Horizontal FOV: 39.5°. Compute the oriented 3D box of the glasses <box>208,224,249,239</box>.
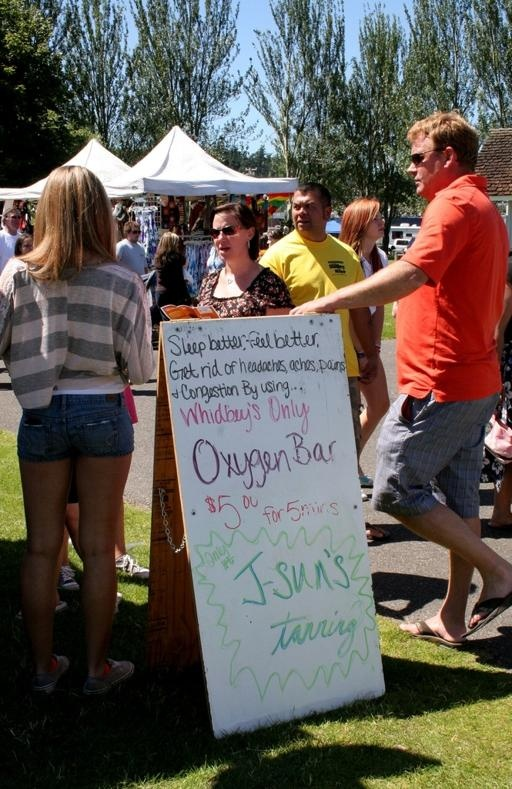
[{"bbox_3d":[-0.114,-0.719,3.133,0.086,0.027,0.087,-1,2,25],"label":"glasses"}]

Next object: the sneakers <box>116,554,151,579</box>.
[{"bbox_3d":[-0.626,0.867,3.559,0.198,0.075,0.148,22,3,-8],"label":"sneakers"}]

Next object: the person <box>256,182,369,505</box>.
[{"bbox_3d":[0.363,-0.240,3.860,0.687,1.753,0.641,-8,13,-5],"label":"person"}]

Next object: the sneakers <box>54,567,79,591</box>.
[{"bbox_3d":[-0.900,0.867,3.355,0.063,0.072,0.184,6,1,-24],"label":"sneakers"}]

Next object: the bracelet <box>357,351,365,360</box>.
[{"bbox_3d":[0.672,-0.251,4.564,0.049,0.054,0.049,-4,0,11],"label":"bracelet"}]

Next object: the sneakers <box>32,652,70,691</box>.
[{"bbox_3d":[-0.689,0.936,2.407,0.054,0.056,0.144,4,9,6],"label":"sneakers"}]

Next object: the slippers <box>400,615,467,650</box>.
[{"bbox_3d":[0.724,0.954,2.901,0.226,0.065,0.089,16,-10,28],"label":"slippers"}]

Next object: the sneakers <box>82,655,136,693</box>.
[{"bbox_3d":[-0.496,0.956,2.411,0.066,0.071,0.178,16,14,23],"label":"sneakers"}]

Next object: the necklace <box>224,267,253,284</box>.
[{"bbox_3d":[-0.075,-0.540,3.222,0.066,0.077,0.046,-16,48,9],"label":"necklace"}]

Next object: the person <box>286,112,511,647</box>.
[{"bbox_3d":[0.649,-0.044,2.659,0.479,2.094,0.851,-1,-1,39],"label":"person"}]
